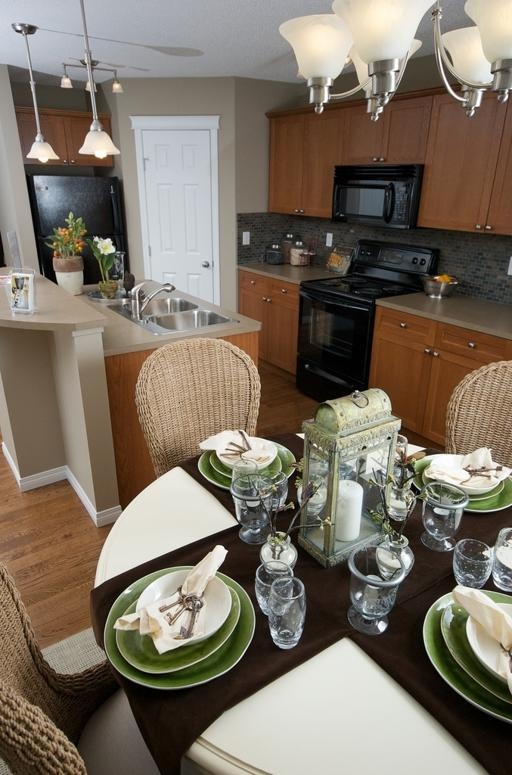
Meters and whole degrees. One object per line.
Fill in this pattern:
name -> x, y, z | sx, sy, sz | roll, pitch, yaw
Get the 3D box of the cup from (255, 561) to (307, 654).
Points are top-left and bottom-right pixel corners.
cup -> 0.040, 0.359, 0.880 | 0.073, 0.128, 0.124 | -2, 24, -2

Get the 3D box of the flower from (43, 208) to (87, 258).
flower -> -1.117, -0.909, 3.166 | 0.167, 0.243, 0.368 | -7, 21, -21

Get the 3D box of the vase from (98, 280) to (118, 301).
vase -> -0.868, -0.589, 3.203 | 0.115, 0.096, 0.110 | 7, 20, 19

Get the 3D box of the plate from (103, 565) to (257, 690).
plate -> -0.128, 0.401, 0.902 | 0.249, 0.033, 0.261 | 0, 19, -1

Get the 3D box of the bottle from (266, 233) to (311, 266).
bottle -> 0.300, -1.257, 4.876 | 0.446, 0.285, 0.249 | 8, 18, 29

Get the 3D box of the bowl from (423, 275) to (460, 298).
bowl -> 1.208, -0.670, 3.513 | 0.214, 0.148, 0.207 | 0, 19, 0

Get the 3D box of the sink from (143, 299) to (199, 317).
sink -> -0.532, -0.509, 3.319 | 0.248, 0.091, 0.193 | -6, 15, -29

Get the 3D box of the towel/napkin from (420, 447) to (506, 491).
towel/napkin -> 0.526, 0.176, 1.342 | 0.133, 0.051, 0.135 | 7, 16, 43

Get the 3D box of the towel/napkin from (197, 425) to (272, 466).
towel/napkin -> -0.037, 0.168, 1.469 | 0.138, 0.041, 0.104 | 18, 27, 37

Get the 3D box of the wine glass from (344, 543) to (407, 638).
wine glass -> 0.206, 0.356, 0.914 | 0.092, 0.129, 0.097 | -11, 33, -35
